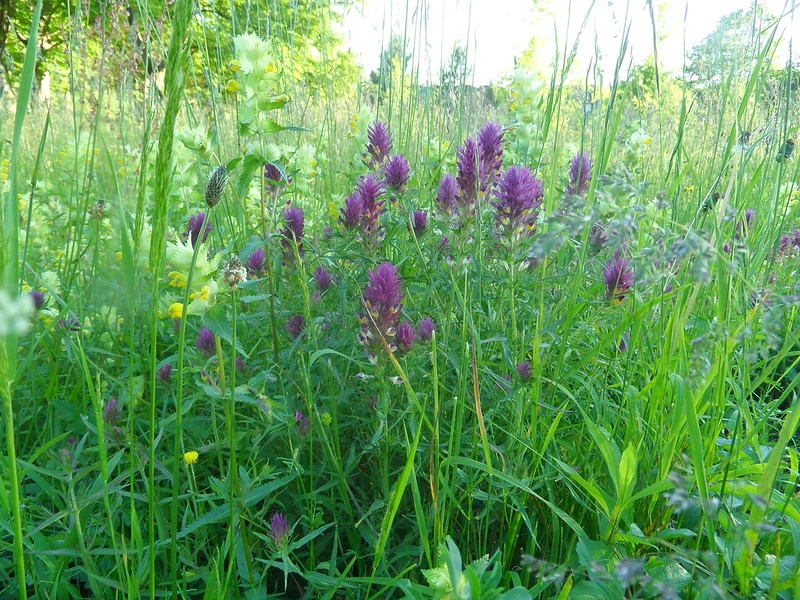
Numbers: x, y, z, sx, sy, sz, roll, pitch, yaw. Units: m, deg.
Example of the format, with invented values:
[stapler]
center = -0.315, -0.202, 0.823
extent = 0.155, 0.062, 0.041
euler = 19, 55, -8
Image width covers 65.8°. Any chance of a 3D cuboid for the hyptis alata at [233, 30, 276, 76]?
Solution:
[hyptis alata]
center = -0.504, -0.853, 2.154
extent = 0.144, 0.141, 0.096
euler = 8, 13, -2
